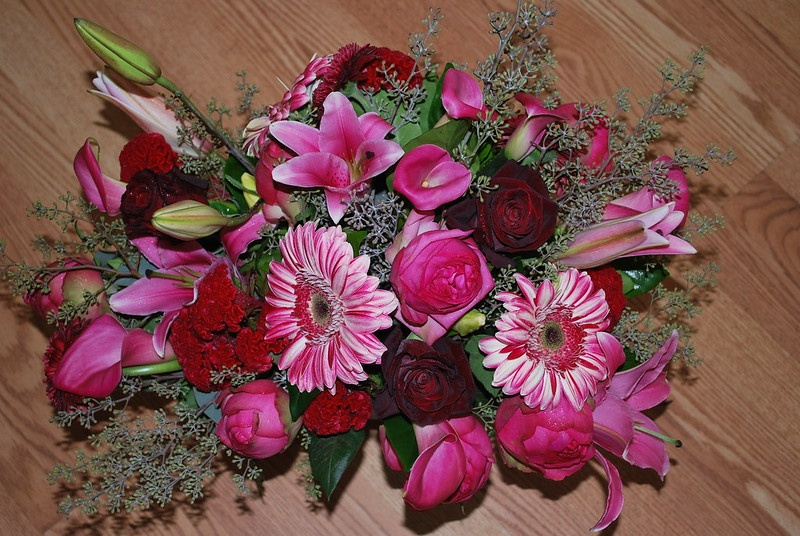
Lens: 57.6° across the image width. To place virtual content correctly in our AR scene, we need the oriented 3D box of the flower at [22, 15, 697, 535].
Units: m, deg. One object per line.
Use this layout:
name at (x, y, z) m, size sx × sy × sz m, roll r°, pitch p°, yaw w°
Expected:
flower at (-0.073, 0.032, 1.366) m, size 0.849 × 0.542 × 0.936 m, roll 2°, pitch 85°, yaw 3°
